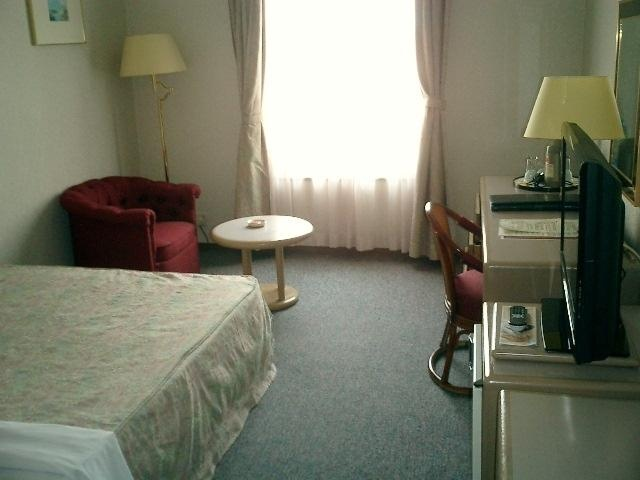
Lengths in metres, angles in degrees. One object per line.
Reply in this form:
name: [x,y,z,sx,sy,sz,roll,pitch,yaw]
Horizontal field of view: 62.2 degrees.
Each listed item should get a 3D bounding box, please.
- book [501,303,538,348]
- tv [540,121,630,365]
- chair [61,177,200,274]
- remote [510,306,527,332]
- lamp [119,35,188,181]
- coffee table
book: [0.707,0.293,1.896,0.116,0.040,0.240,-3,26,23]
tv: [0.940,0.014,1.852,0.220,0.647,0.833,1,10,24]
chair: [-1.481,-0.059,4.220,0.803,0.816,0.915,3,15,-2]
remote: [0.716,0.278,1.908,0.078,0.085,0.062,1,-12,31]
lamp: [-1.478,-1.208,4.771,0.633,1.362,0.748,-3,9,-1]
coffee table: [-0.376,0.077,3.920,0.686,0.550,0.679,-19,30,-37]
